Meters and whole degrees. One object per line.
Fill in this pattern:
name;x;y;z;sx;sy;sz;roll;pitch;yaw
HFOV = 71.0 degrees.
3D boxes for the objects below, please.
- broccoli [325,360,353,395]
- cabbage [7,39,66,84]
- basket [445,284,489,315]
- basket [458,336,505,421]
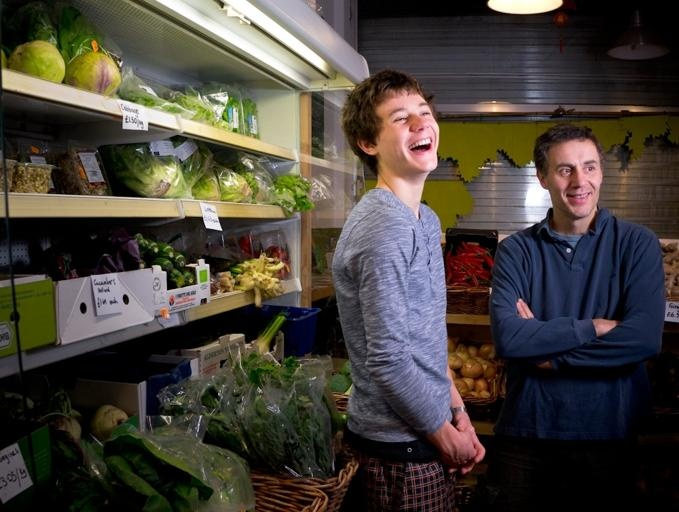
broccoli;-0.004;0.641;2.438;0.127;0.084;0.214;11;37;1
cabbage;-0.952;-0.621;1.505;0.161;0.131;0.083;-5;5;-36
basket;0.799;0.269;2.965;0.309;0.163;0.206;1;0;18
basket;0.902;0.781;3.017;0.314;0.139;0.432;0;14;12
